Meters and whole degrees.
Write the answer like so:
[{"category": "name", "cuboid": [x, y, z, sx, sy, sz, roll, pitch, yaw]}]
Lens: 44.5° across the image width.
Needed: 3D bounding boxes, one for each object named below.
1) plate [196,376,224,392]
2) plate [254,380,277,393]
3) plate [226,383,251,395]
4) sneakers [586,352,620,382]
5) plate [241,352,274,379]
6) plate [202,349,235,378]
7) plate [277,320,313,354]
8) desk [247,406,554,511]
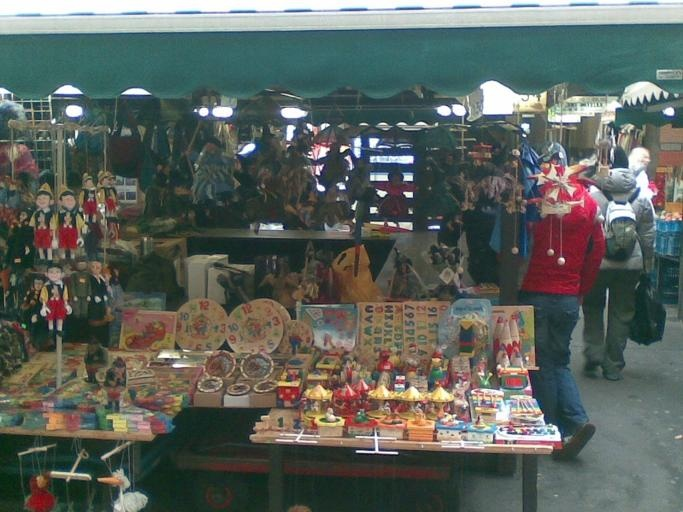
[{"category": "plate", "cuboid": [-0.826, 0.803, 5.222, 0.165, 0.050, 0.144, 3, 13, 3]}, {"category": "plate", "cuboid": [-0.478, 0.805, 5.167, 0.142, 0.047, 0.107, 3, 13, 4]}, {"category": "plate", "cuboid": [-0.640, 0.828, 5.181, 0.152, 0.046, 0.117, 2, 13, -1]}, {"category": "sneakers", "cuboid": [2.364, 1.034, 7.601, 0.273, 0.282, 0.174, -6, -2, 41]}, {"category": "plate", "cuboid": [-0.532, 0.703, 5.321, 0.200, 0.121, 0.206, -3, 14, -21]}, {"category": "plate", "cuboid": [-0.787, 0.694, 5.343, 0.194, 0.129, 0.145, 1, 13, -4]}, {"category": "plate", "cuboid": [-0.316, 0.554, 5.628, 0.221, 0.223, 0.030, 0, -5, 16]}, {"category": "desk", "cuboid": [0.326, 1.196, 4.834, 1.603, 0.570, 0.686, 6, 14, 18]}]
